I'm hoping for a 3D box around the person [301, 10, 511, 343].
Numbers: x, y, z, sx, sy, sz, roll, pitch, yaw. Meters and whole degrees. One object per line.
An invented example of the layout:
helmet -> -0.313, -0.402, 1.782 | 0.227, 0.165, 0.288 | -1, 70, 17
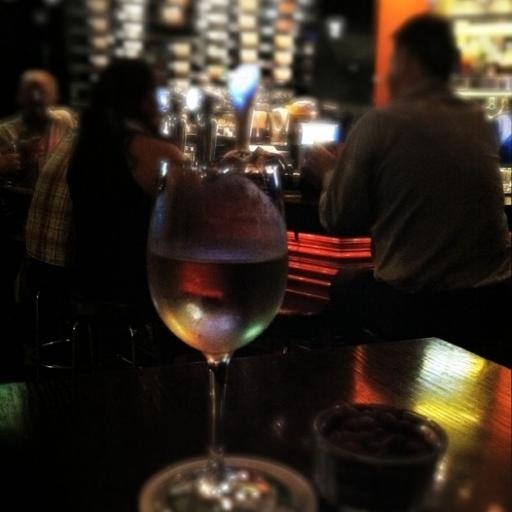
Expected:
person -> 0.572, -0.334, 1.901 | 0.676, 1.154, 0.641 | 2, 7, 6
